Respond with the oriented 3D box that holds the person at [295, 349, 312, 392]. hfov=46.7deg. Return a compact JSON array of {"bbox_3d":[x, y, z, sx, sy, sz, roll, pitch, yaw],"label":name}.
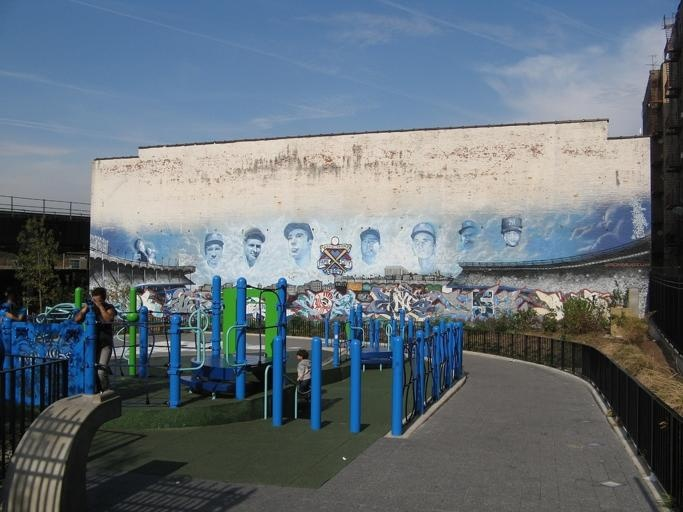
[{"bbox_3d":[-0.952,2.848,19.787,0.324,0.743,0.782,-3,-2,-3],"label":"person"}]
